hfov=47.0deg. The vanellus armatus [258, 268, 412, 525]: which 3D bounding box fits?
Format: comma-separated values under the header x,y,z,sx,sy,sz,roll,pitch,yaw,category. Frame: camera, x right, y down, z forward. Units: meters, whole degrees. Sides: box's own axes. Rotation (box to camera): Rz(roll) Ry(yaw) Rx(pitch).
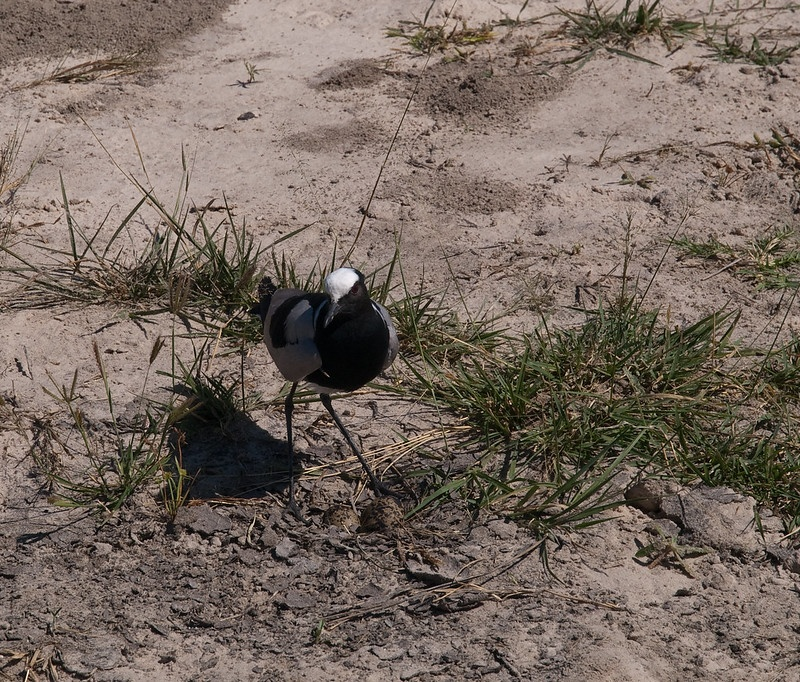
x,y,z,sx,sy,sz,roll,pitch,yaw,category
-0.474,0.174,5.615,0.777,1.394,1.679,-6,19,-23,vanellus armatus
